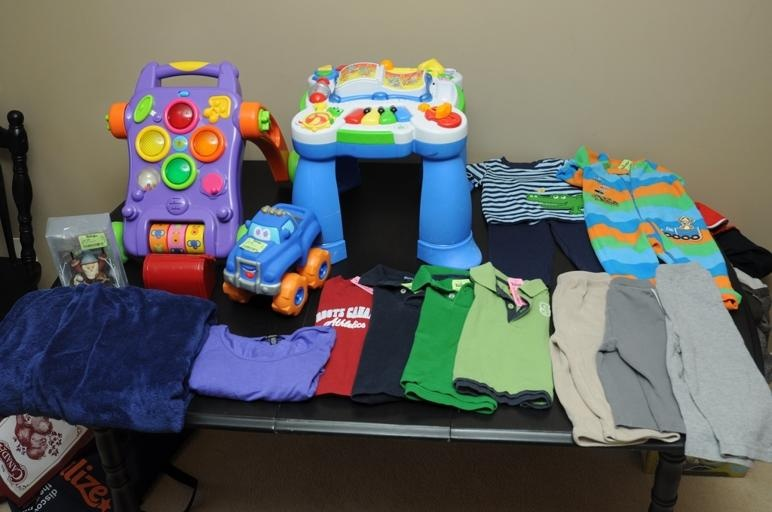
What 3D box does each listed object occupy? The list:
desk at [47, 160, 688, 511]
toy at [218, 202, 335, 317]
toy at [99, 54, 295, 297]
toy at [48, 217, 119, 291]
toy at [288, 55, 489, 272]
[{"bbox_3d":[-0.024,0.248,1.995,1.892,0.834,1.132,1,25,3],"label":"desk"},{"bbox_3d":[-0.286,-0.014,1.817,0.238,0.261,0.347,14,40,14],"label":"toy"},{"bbox_3d":[-0.532,-0.312,1.973,0.521,0.584,0.708,2,25,0],"label":"toy"},{"bbox_3d":[-0.888,0.021,1.794,0.273,0.074,0.219,-26,56,23],"label":"toy"},{"bbox_3d":[0.014,-0.243,1.980,0.631,0.482,0.620,-2,43,1],"label":"toy"}]
